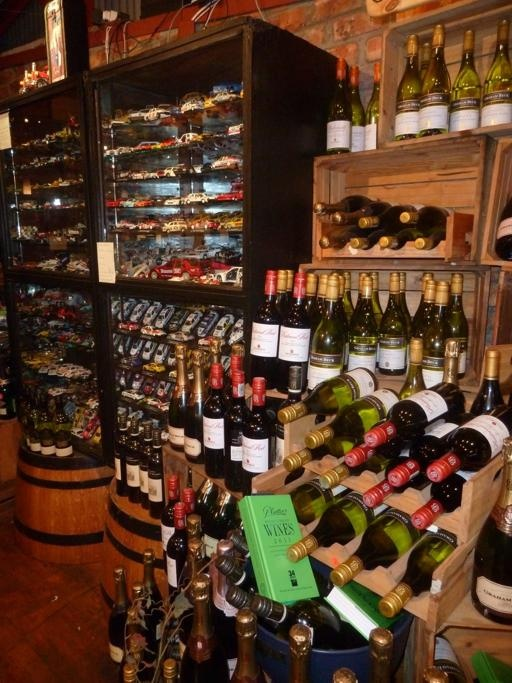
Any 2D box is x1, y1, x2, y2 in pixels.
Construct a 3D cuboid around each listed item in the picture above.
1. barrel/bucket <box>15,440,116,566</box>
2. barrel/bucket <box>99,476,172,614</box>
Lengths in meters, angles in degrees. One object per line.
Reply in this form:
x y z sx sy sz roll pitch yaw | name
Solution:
-0.888 0.745 2.667 0.567 0.491 0.542 4 10 -1 | barrel/bucket
-0.397 0.738 1.994 0.335 0.334 0.347 0 9 0 | barrel/bucket
